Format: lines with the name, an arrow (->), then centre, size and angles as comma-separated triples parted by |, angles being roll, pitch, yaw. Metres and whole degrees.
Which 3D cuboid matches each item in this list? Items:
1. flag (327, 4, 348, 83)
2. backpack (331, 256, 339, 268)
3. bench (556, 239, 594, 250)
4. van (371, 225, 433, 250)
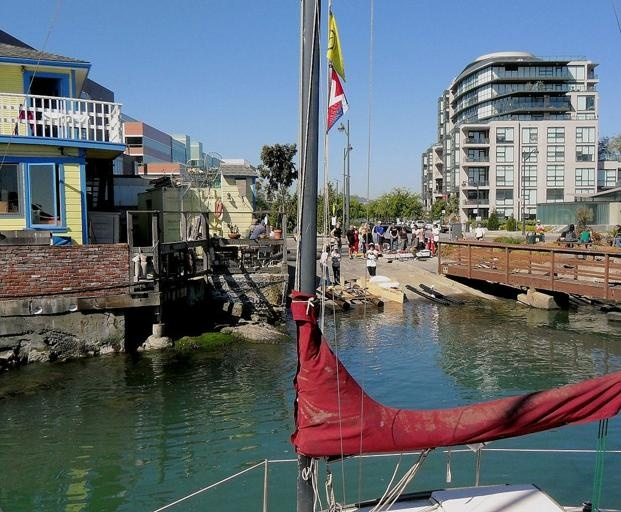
flag -> 0.347, -2.842, 8.614 | 0.217, 0.884, 0.520 | 0, 8, 3
backpack -> 1.146, 0.261, 28.784 | 0.543, 0.419, 0.727 | -2, -2, 9
bench -> 14.227, -0.532, 34.185 | 1.728, 0.359, 3.303 | 3, 9, 17
van -> 6.090, -1.204, 42.648 | 2.174, 1.847, 3.510 | 0, -1, 7
